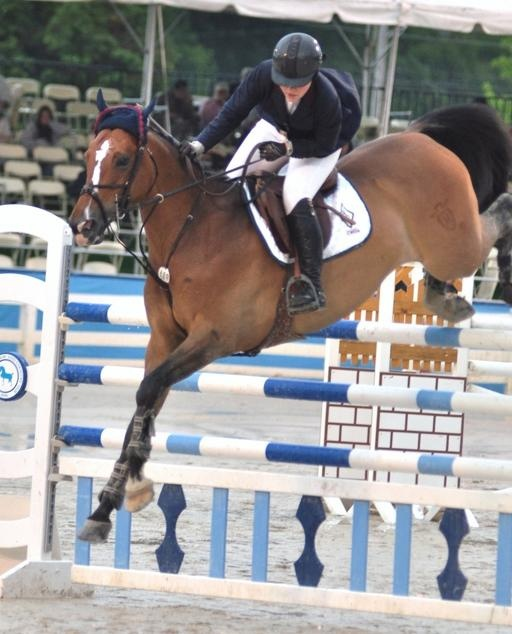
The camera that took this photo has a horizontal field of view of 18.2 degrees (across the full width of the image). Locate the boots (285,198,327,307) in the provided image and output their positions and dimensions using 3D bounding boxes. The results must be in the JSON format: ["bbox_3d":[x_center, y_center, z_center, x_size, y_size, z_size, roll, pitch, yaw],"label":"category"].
[{"bbox_3d":[0.208,-0.256,6.871,0.187,0.478,0.209,4,8,-1],"label":"boots"}]

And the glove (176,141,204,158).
[{"bbox_3d":[-0.289,-0.724,6.968,0.043,0.060,0.101,-6,11,-37],"label":"glove"}]

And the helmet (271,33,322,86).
[{"bbox_3d":[0.169,-1.091,6.875,0.220,0.232,0.187,5,8,-1],"label":"helmet"}]
